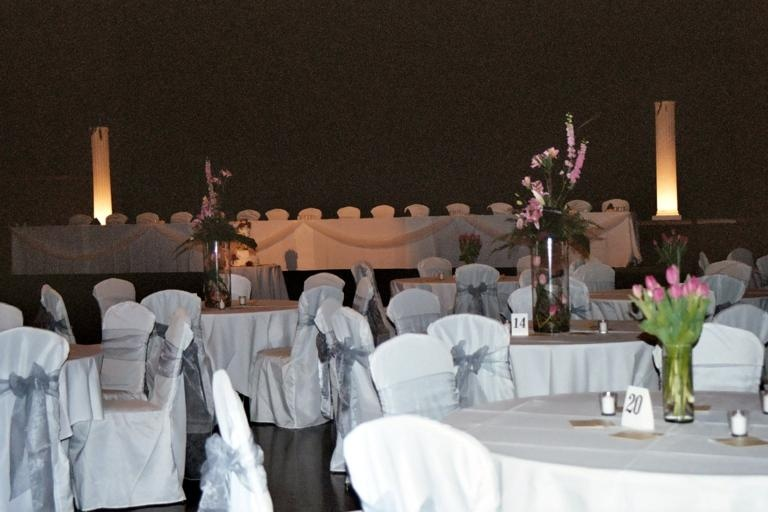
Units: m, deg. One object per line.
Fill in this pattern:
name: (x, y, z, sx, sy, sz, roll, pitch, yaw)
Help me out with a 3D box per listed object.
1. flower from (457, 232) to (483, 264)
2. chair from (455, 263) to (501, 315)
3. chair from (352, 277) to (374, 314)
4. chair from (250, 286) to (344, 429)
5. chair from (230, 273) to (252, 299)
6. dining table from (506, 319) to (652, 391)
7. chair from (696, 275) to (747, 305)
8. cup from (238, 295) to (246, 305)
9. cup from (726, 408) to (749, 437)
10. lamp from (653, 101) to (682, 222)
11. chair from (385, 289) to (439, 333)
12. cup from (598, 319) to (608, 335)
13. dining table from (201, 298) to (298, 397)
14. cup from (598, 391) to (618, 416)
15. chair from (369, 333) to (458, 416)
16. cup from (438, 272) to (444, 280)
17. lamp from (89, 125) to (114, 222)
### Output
flower: (1.048, -0.084, 9.647, 0.227, 0.376, 0.392, -2, -4, 0)
chair: (0.983, 0.392, 8.856, 0.636, 0.790, 0.533, 0, 0, -1)
chair: (-0.202, 0.390, 7.738, 0.202, 0.376, 0.298, -2, -4, -2)
chair: (-1.051, 0.947, 7.874, 1.105, 1.721, 1.179, 2, 1, 3)
chair: (-1.570, 0.322, 8.554, 0.247, 0.317, 0.255, 1, -1, -23)
dining table: (1.442, 0.766, 5.657, 0.656, 0.341, 0.626, 2, -10, -29)
chair: (2.901, 0.295, 6.714, 0.326, 0.146, 0.270, 1, -6, 5)
cup: (-1.449, 0.449, 7.939, 0.076, 0.090, 0.077, 0, 5, 0)
cup: (1.907, 0.907, 4.262, 0.122, 0.140, 0.125, -2, -2, 0)
lamp: (4.941, -1.714, 13.729, 0.359, 1.939, 0.479, -3, -3, 19)
chair: (0.232, 0.378, 6.640, 0.434, 0.508, 0.353, -3, 9, -20)
cup: (1.684, 0.554, 6.048, 0.088, 0.153, 0.100, -1, -2, 15)
dining table: (-1.308, 0.874, 7.694, 0.875, 0.656, 0.854, 0, -3, -7)
cup: (1.278, 0.848, 4.494, 0.115, 0.134, 0.119, -1, -1, 0)
chair: (0.167, 0.728, 5.055, 0.455, 0.658, 0.529, -3, 1, -21)
cup: (0.697, 0.252, 9.712, 0.075, 0.104, 0.077, -2, 1, 0)
lamp: (-5.307, -1.507, 14.634, 0.315, 1.686, 0.802, -1, -4, -21)
